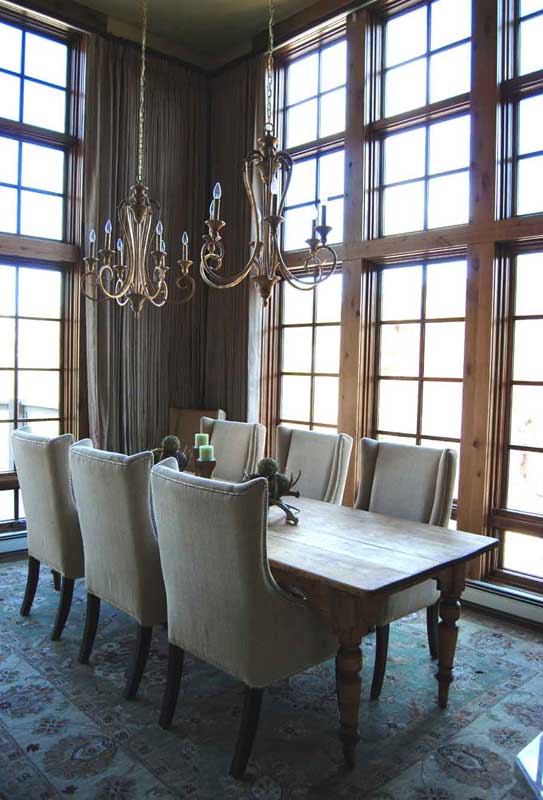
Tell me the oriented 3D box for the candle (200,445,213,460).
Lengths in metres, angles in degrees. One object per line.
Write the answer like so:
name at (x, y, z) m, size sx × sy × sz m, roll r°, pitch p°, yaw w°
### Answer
candle at (-0.268, 0.222, 2.442) m, size 0.044 × 0.058 × 0.052 m, roll 2°, pitch 1°, yaw 17°

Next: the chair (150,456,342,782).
chair at (-0.198, 0.534, 2.068) m, size 0.604 × 1.306 × 0.605 m, roll -5°, pitch 9°, yaw -44°

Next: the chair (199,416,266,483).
chair at (-0.221, 0.282, 3.438) m, size 0.252 × 0.385 × 0.364 m, roll 6°, pitch -1°, yaw 10°
